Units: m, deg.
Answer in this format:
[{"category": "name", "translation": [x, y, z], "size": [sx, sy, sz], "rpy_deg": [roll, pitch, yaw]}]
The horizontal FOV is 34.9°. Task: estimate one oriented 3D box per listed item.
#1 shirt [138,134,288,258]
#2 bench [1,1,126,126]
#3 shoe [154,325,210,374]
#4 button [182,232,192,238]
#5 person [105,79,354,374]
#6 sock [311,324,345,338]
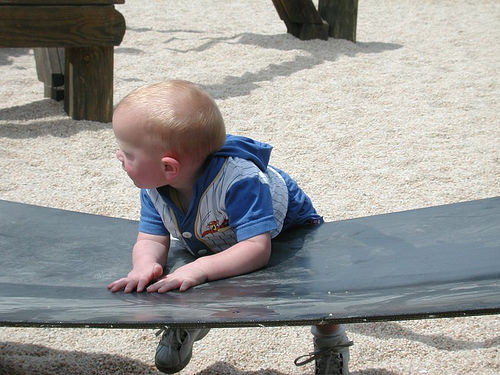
[{"category": "shirt", "translation": [-0.177, 0.074, 3.160], "size": [0.624, 0.370, 0.553], "rpy_deg": [-22, -15, 33]}, {"category": "bench", "translation": [-1.239, -0.837, 5.373], "size": [0.833, 0.712, 1.245], "rpy_deg": [-4, 20, -21]}, {"category": "shoe", "translation": [-0.307, 0.674, 3.351], "size": [0.111, 0.173, 0.193], "rpy_deg": [7, 22, 28]}, {"category": "button", "translation": [-0.243, 0.188, 3.163], "size": [0.026, 0.023, 0.005], "rpy_deg": [-10, 49, 24]}, {"category": "person", "translation": [-0.174, -0.035, 3.099], "size": [0.760, 0.749, 0.598], "rpy_deg": [-2, 20, 4]}, {"category": "sock", "translation": [0.311, 0.568, 3.150], "size": [0.142, 0.029, 0.120], "rpy_deg": [1, -11, -2]}]
